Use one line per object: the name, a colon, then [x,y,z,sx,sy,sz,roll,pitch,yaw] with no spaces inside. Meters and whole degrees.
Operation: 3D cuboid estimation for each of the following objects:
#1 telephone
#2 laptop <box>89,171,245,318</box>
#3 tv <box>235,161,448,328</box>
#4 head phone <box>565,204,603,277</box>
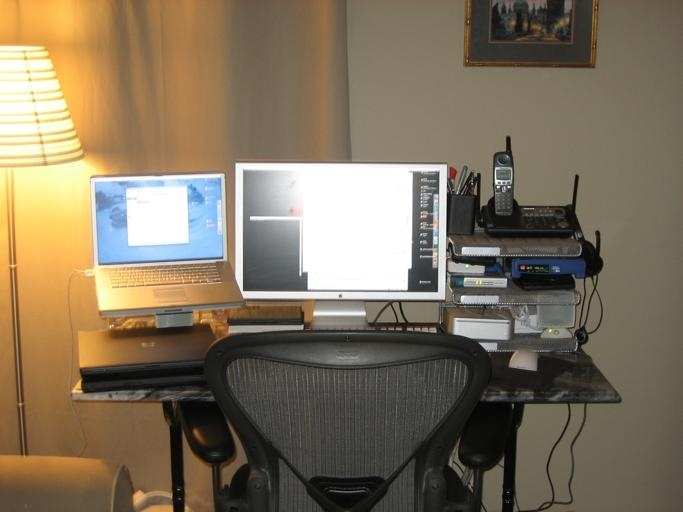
telephone: [0.676,-0.257,2.453,0.336,0.359,0.250,2,16,16]
laptop: [-0.617,-0.054,2.335,0.479,0.444,0.337,-6,14,-18]
tv: [-0.017,-0.065,2.383,0.535,0.438,0.159,0,4,-1]
head phone: [0.924,-0.108,2.565,0.109,0.328,0.168,-9,-30,14]
